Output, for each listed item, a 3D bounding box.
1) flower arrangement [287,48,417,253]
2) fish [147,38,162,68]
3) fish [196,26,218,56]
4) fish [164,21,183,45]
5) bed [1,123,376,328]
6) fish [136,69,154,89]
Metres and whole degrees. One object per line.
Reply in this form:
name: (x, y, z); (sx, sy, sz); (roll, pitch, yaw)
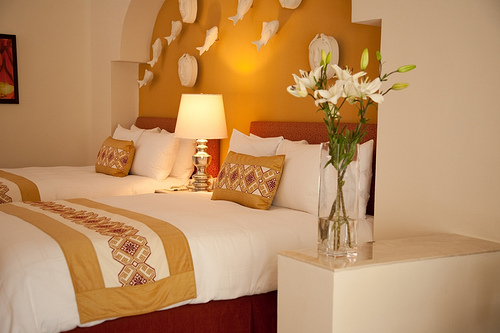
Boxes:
flower arrangement: (0.449, -0.051, 1.778); (0.511, 0.985, 0.681); (-5, 9, -32)
fish: (-1.440, -1.738, 5.345); (0.106, 0.445, 0.348); (6, -2, -30)
fish: (-0.490, -1.529, 4.322); (0.150, 0.441, 0.186); (30, -21, -21)
fish: (-1.065, -1.900, 4.918); (0.144, 0.324, 0.309); (7, -2, -38)
bed: (-0.499, 0.494, 2.562); (2.056, 0.960, 1.689); (1, 0, -32)
fish: (-1.633, -1.359, 5.492); (0.196, 0.267, 0.122); (35, 8, -1)
